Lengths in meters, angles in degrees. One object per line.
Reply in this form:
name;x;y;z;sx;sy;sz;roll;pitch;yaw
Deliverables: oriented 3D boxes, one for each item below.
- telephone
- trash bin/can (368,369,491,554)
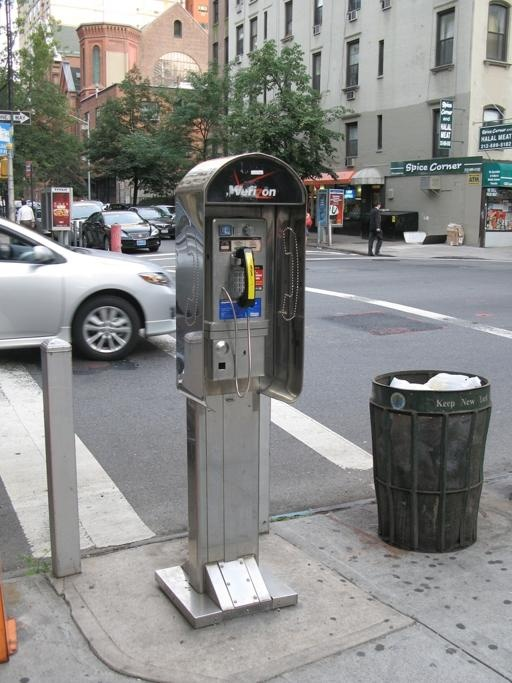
telephone;-0.047;-0.302;2.820;0.267;0.436;0.205;-2;9;-21
trash bin/can;0.902;0.580;3.622;0.704;0.815;0.657;15;16;40
